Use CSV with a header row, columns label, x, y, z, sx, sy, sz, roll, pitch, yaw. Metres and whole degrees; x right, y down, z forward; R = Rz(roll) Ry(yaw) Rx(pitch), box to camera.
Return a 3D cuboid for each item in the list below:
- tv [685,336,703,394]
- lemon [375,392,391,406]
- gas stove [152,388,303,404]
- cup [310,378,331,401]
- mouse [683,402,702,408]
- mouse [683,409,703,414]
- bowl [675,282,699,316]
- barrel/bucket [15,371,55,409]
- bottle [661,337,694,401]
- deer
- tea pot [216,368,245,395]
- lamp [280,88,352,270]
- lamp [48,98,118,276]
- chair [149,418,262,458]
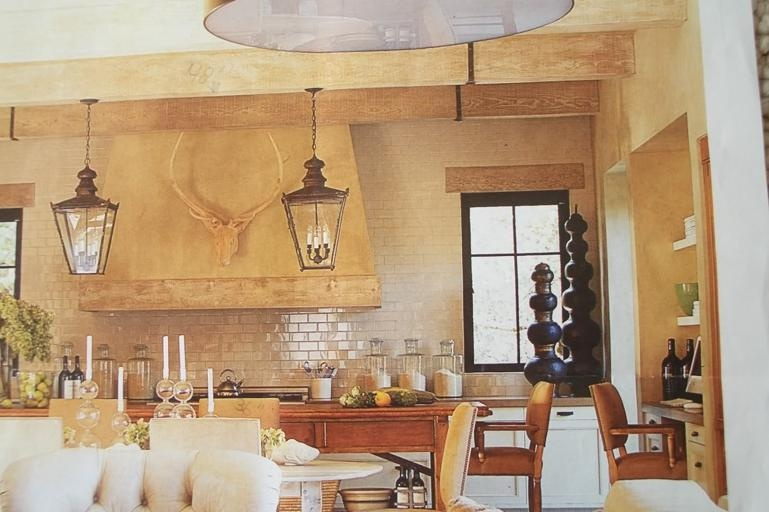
label,x,y,z,sx,sy,sz,roll,pitch,yaw
tv,2.650,0.948,11.881,0.128,0.513,0.420,-1,-8,12
lemon,-0.035,1.259,12.001,0.133,0.103,0.102,8,-23,12
gas stove,-1.091,1.303,13.004,1.420,0.174,0.489,0,-4,-7
cup,-0.604,1.267,12.974,0.207,0.217,0.162,3,-8,-20
mouse,2.597,1.274,11.652,0.153,0.065,0.361,-1,-8,12
mouse,2.566,1.306,11.468,0.150,0.034,0.115,-2,-8,20
bowl,2.644,0.375,12.051,0.219,0.311,0.238,0,-8,0
barrel/bucket,-3.263,1.262,12.883,0.369,0.395,0.357,-2,-4,0
bottle,2.532,1.010,12.069,0.163,0.507,0.302,1,-4,2
deer,-1.479,-0.486,13.133,1.384,1.603,0.480,0,-3,-3
tea pot,-1.449,1.183,12.682,0.291,0.234,0.214,0,-7,-6
lamp,-0.598,-0.456,11.918,0.435,1.952,0.406,-2,-8,9
lamp,-2.652,-0.404,12.060,0.555,1.894,0.505,-1,-3,-13
chair,-1.404,1.379,10.294,0.628,0.318,0.411,0,-8,2
